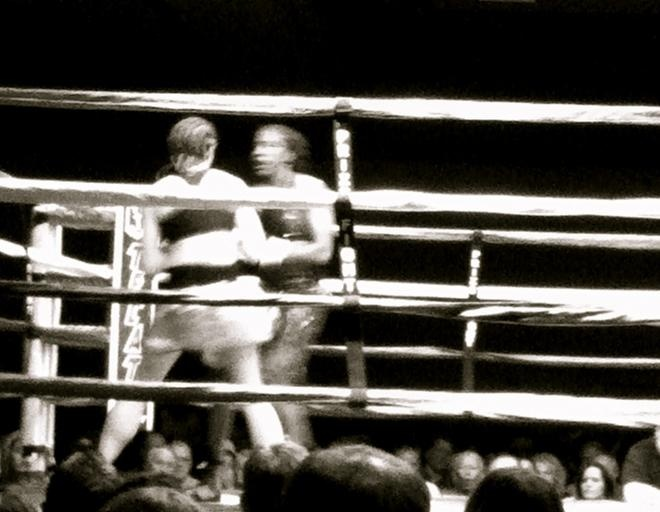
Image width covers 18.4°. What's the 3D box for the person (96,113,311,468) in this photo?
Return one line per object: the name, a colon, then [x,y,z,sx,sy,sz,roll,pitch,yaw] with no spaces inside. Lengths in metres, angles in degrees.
person: [-0.608,0.166,9.464,0.856,1.758,0.729,3,-17,7]
